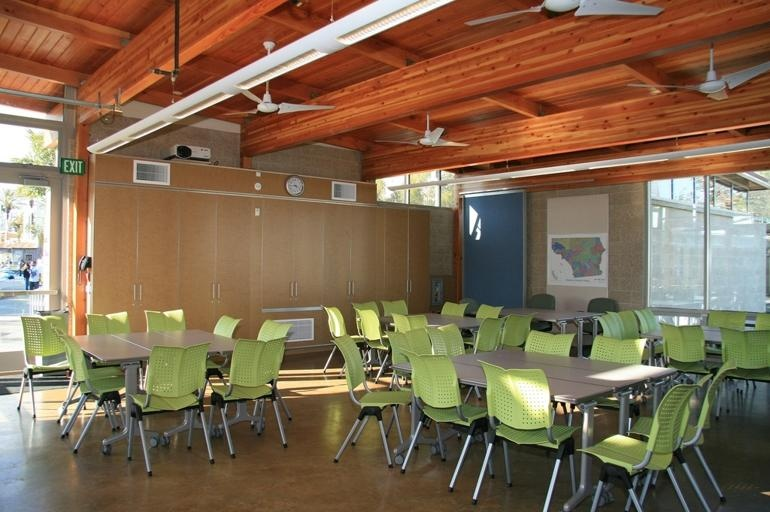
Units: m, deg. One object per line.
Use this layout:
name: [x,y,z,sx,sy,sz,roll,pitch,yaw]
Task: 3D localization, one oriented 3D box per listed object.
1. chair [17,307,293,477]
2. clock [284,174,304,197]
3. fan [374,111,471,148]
chair: [-2.948,1.483,7.009,2.146,0.818,2.117,0,0,-36]
clock: [-1.759,-1.368,11.185,0.453,0.357,0.103,-10,6,-41]
fan: [0.675,-1.950,8.846,1.040,0.312,0.896,-14,23,-16]
